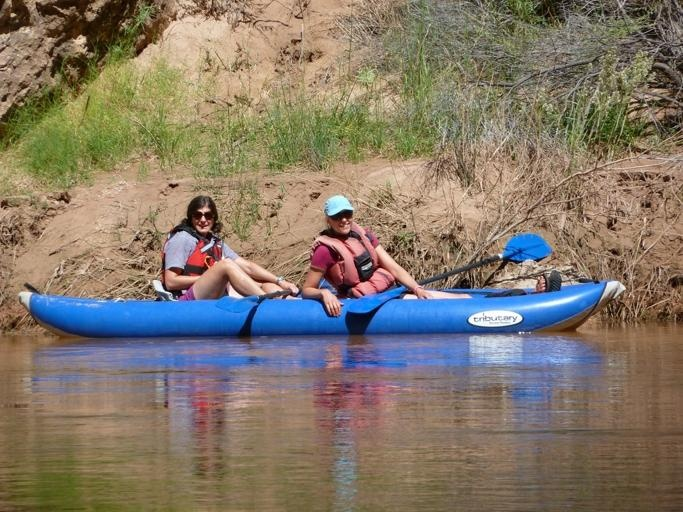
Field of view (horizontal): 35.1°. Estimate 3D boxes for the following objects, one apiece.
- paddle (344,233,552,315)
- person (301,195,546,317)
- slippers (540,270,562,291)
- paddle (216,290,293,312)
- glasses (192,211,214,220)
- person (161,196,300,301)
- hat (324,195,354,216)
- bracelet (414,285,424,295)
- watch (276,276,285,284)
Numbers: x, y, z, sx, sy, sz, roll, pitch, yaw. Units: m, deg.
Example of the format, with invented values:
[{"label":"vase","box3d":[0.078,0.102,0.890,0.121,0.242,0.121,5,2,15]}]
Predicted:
[{"label":"paddle","box3d":[1.093,0.249,10.454,3.304,0.555,0.171,-9,-20,-46]},{"label":"person","box3d":[0.423,-0.040,9.481,1.536,0.482,1.281,-3,13,21]},{"label":"slippers","box3d":[1.898,0.237,9.856,0.127,0.237,0.099,7,-2,25]},{"label":"paddle","box3d":[-0.777,0.418,9.807,0.730,0.077,0.234,-7,20,-25]},{"label":"glasses","box3d":[-1.289,-0.374,10.055,0.127,0.030,0.105,3,-26,-12]},{"label":"person","box3d":[-0.993,0.003,10.064,1.388,0.723,0.559,7,16,15]},{"label":"hat","box3d":[-0.052,-0.449,9.533,0.217,0.111,0.240,-4,0,-12]},{"label":"bracelet","box3d":[0.680,0.311,9.818,0.074,0.029,0.078,-2,30,23]},{"label":"watch","box3d":[-0.580,0.215,9.920,0.115,0.080,0.040,1,-9,-33]}]
